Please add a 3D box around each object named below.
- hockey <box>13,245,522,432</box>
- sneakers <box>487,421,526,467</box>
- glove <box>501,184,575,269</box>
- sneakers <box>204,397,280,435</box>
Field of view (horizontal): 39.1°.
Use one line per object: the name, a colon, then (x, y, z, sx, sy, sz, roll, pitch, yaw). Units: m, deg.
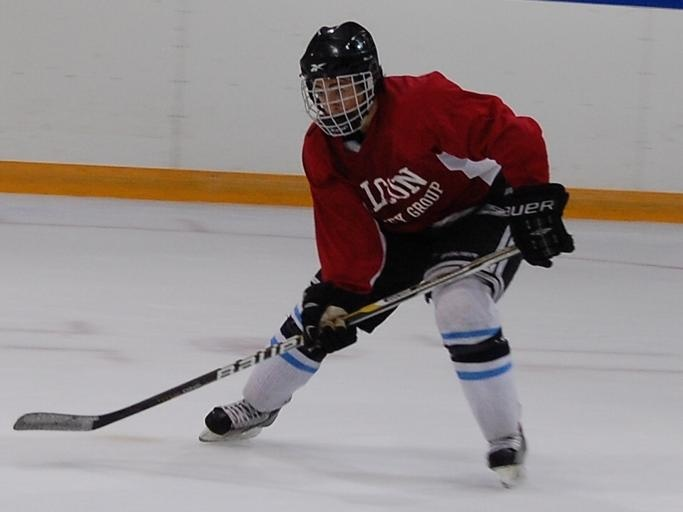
hockey: (-0.302, 0.371, 4.057, 1.604, 0.057, 0.300, -19, -38, -10)
sneakers: (0.623, 0.684, 3.660, 0.138, 0.118, 0.293, -10, 16, 15)
glove: (0.822, -0.114, 3.671, 0.113, 0.286, 0.352, -17, -5, 2)
sneakers: (-0.393, 0.634, 3.811, 0.331, 0.102, 0.114, -10, -15, -29)
